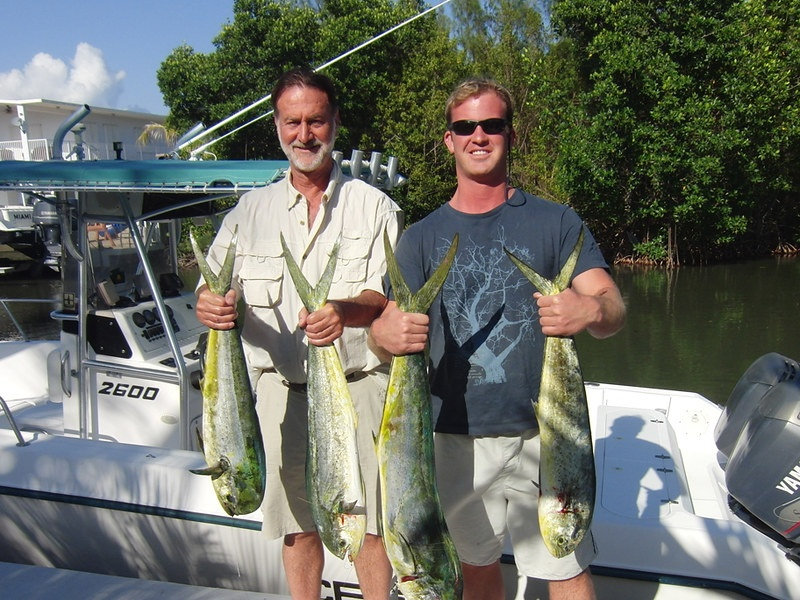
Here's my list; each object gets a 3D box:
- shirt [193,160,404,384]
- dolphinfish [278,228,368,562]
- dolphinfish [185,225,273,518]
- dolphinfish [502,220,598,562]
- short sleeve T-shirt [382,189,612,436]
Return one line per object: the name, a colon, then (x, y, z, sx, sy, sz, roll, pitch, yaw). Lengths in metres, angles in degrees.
shirt: (-0.578, -0.137, 3.677, 1.085, 1.310, 0.778, -3, 44, -24)
dolphinfish: (-0.319, 0.513, 3.137, 0.290, 1.734, 0.275, -2, 11, 8)
dolphinfish: (-0.906, 0.433, 3.305, 0.287, 1.277, 0.427, -8, -8, 7)
dolphinfish: (0.719, 0.417, 3.119, 0.379, 1.447, 0.319, -1, 7, 5)
short sleeve T-shirt: (0.490, 0.031, 3.274, 1.018, 1.191, 0.422, 7, 29, 20)
